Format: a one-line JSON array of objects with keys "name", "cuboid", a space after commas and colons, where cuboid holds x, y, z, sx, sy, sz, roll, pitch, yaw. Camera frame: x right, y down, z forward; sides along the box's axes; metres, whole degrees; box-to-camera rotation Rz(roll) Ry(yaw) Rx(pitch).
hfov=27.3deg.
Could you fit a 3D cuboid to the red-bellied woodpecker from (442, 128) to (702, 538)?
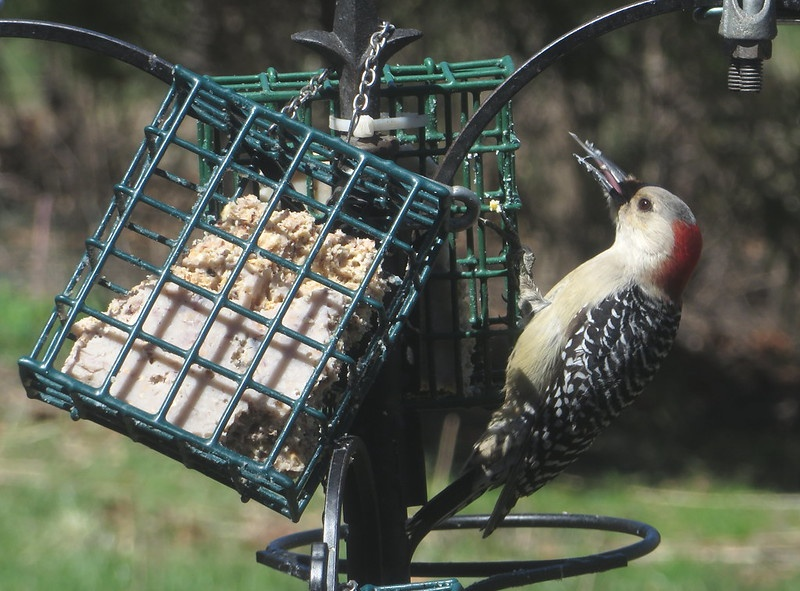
[{"name": "red-bellied woodpecker", "cuboid": [0.998, 0.297, 10.451, 1.731, 2.220, 0.710, -14, 16, -1]}]
